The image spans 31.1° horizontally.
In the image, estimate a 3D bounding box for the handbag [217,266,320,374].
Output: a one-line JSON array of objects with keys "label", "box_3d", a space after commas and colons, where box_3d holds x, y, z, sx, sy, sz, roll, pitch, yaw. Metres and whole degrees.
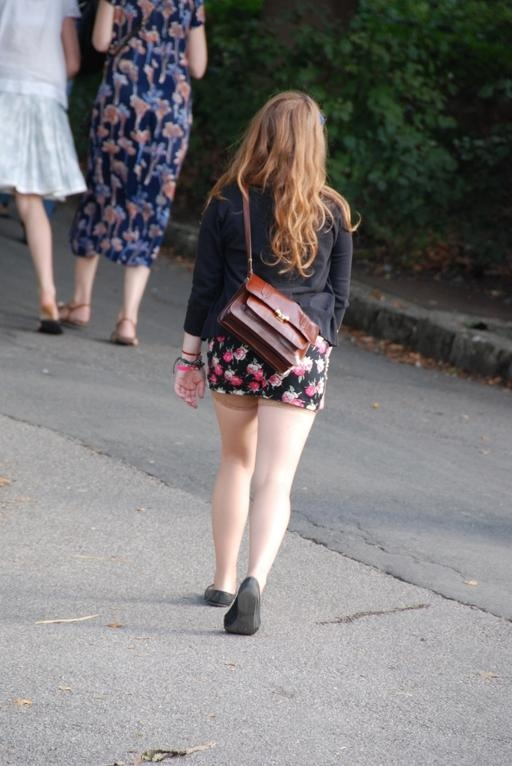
[{"label": "handbag", "box_3d": [0.049, -0.173, 2.624, 0.305, 0.256, 0.099, 43, -26, -13]}]

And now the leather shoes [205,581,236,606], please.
[{"label": "leather shoes", "box_3d": [-0.107, 0.656, 2.876, 0.100, 0.051, 0.170, 1, 1, 2]}]

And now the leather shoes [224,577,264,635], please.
[{"label": "leather shoes", "box_3d": [-0.033, 0.638, 2.631, 0.093, 0.200, 0.086, 5, 48, 0]}]
